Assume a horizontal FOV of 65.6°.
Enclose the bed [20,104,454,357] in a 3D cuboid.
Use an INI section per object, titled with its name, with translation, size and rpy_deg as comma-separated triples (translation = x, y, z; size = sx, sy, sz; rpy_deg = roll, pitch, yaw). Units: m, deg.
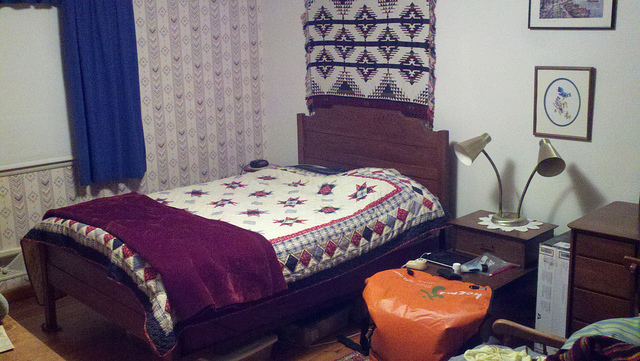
[bed]
translation = -0.497, 0.399, 4.491
size = 3.154, 1.607, 2.463
rpy_deg = -11, 16, -40
